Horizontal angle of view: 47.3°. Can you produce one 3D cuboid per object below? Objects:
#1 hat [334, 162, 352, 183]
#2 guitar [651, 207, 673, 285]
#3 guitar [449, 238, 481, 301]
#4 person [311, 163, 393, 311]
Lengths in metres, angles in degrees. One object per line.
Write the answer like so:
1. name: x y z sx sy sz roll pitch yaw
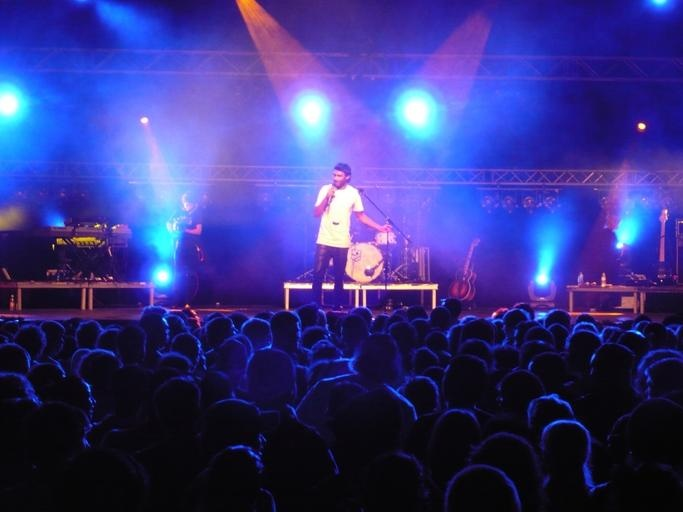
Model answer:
1. hat: 0.017 -1.181 11.121 0.279 0.248 0.222 5 -2 -22
2. guitar: 6.392 -0.170 15.404 0.348 1.610 0.334 1 1 -10
3. guitar: 2.395 0.266 15.239 0.489 1.002 0.815 5 -2 9
4. person: -0.043 -0.279 11.306 0.866 1.804 0.735 6 -2 -25
